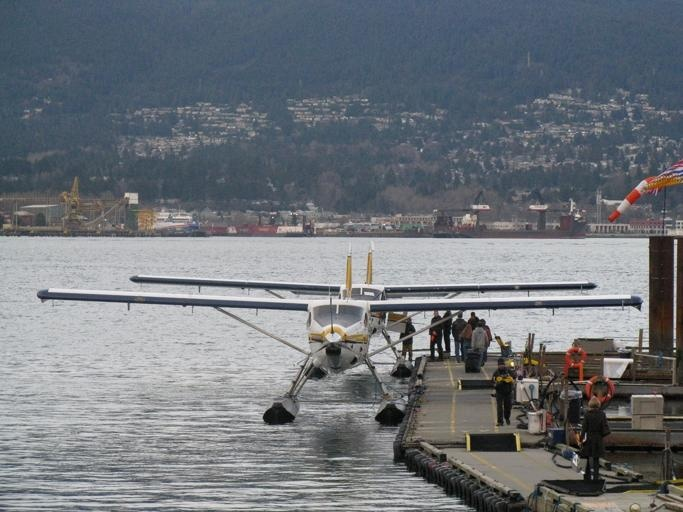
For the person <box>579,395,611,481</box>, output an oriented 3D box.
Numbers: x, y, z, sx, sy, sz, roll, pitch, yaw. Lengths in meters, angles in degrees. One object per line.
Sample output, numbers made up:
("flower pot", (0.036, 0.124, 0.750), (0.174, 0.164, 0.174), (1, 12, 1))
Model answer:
("person", (10.385, 7.579, 73.102), (1.035, 2.887, 0.624), (-2, 6, 6))
